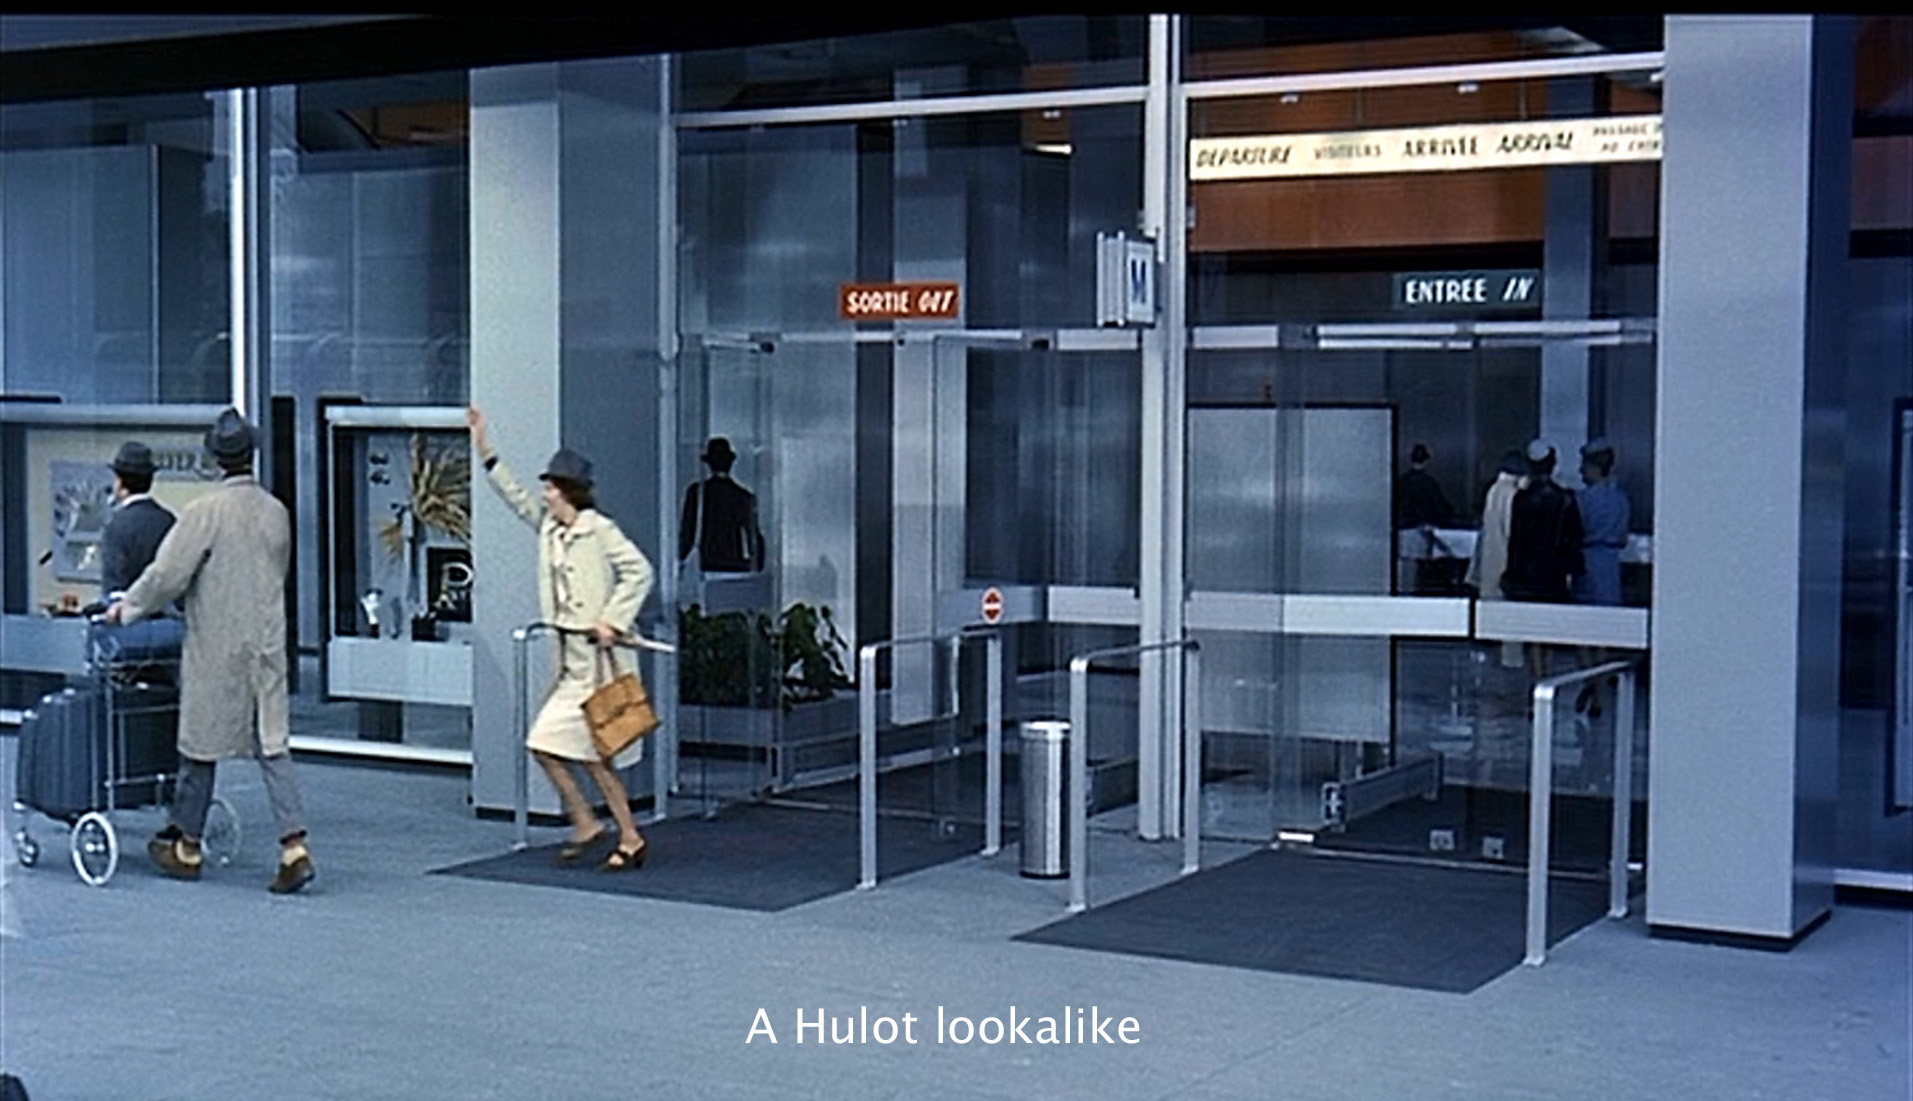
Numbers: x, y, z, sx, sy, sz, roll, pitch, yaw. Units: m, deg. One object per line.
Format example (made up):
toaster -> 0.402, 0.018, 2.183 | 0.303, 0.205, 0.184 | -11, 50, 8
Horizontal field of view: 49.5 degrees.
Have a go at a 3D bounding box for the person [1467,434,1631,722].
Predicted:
person -> 4.052, 0.206, 14.279 | 0.778, 1.858, 0.760 | 0, 0, -27

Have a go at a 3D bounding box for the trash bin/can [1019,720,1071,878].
trash bin/can -> 0.645, 1.684, 14.042 | 0.430, 1.064, 0.430 | 0, -2, 33

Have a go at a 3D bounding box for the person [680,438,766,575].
person -> -1.769, -0.335, 15.541 | 0.635, 0.990, 0.182 | 0, 12, -3

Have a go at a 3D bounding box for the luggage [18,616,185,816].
luggage -> -5.575, 1.152, 14.012 | 1.072, 1.399, 1.240 | 0, -2, 27

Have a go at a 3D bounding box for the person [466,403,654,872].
person -> -2.636, 0.602, 14.230 | 1.413, 3.149, 0.902 | -7, -7, 26
